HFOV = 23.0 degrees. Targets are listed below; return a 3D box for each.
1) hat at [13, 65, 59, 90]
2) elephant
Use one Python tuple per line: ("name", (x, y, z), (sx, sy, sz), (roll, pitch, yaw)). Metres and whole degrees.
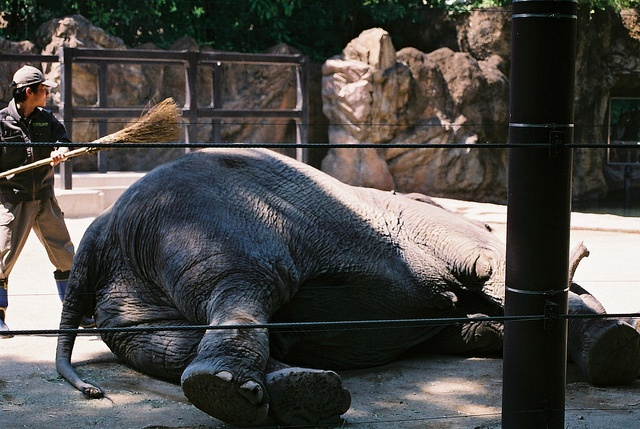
("hat", (-2.894, -1.393, 15.991), (0.407, 0.170, 0.246), (-7, 10, -22))
("elephant", (1.361, 0.946, 16.992), (7.628, 3.224, 2.089), (-3, -28, -17))
